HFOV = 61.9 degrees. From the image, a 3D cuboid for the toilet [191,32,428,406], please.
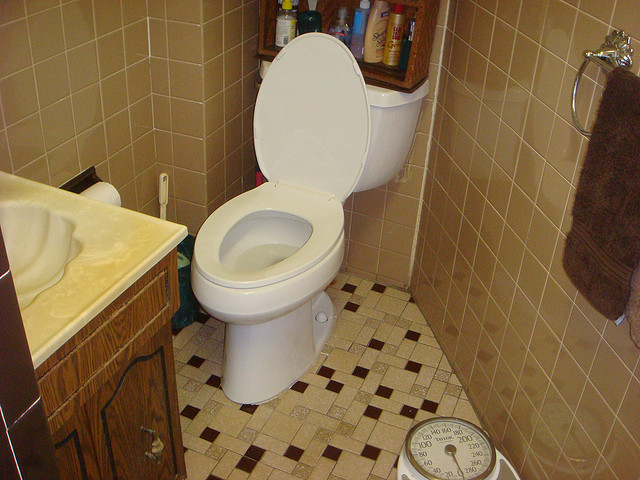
[{"bbox_3d":[-0.070,-0.106,2.000,0.556,1.199,1.111,17,34,18],"label":"toilet"}]
